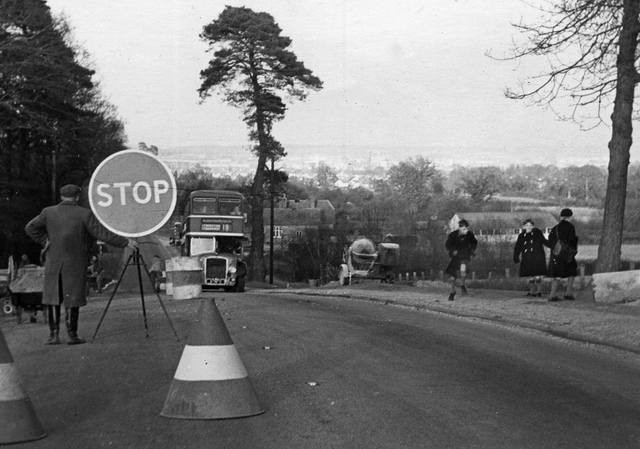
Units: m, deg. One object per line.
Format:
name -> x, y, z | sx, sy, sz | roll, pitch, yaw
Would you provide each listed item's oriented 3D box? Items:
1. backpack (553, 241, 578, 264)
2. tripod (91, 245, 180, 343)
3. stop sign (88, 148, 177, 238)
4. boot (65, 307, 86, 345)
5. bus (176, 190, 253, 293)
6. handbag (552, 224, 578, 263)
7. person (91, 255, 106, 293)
backpack -> 6.764, 0.744, 19.478 | 0.469, 0.361, 0.177 | 27, 19, 6
tripod -> -3.304, 1.298, 12.954 | 1.248, 1.713, 1.050 | -4, 10, -27
stop sign -> -3.129, -0.538, 11.692 | 1.324, 1.485, 1.057 | -1, 1, -7
boot -> -4.490, 1.803, 12.909 | 0.340, 0.688, 0.746 | -1, 1, -20
bus -> -5.661, 0.057, 36.546 | 2.823, 4.855, 8.930 | 1, 8, -13
handbag -> 6.787, 0.537, 19.547 | 0.322, 0.863, 0.645 | -23, 38, -14
person -> -16.254, 3.625, 51.585 | 1.015, 2.434, 0.883 | 3, -35, -9
